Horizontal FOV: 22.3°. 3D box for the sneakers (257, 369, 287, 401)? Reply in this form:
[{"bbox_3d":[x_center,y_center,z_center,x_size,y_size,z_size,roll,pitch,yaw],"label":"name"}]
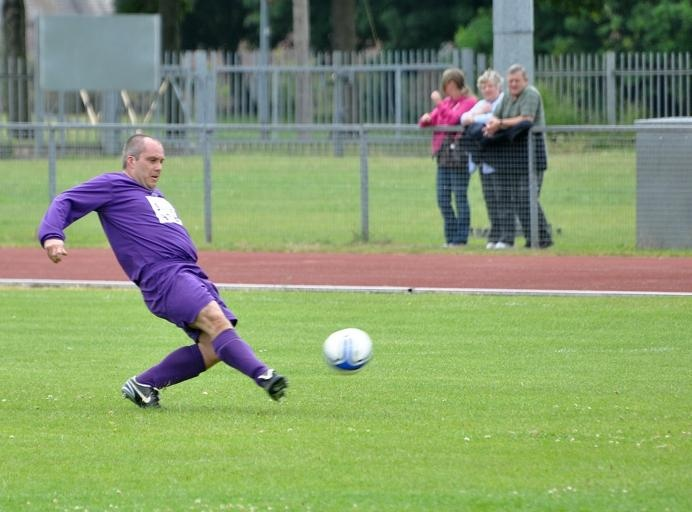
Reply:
[{"bbox_3d":[-0.810,1.406,19.604,0.191,0.442,0.212,-46,32,-9],"label":"sneakers"}]

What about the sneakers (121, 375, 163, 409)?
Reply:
[{"bbox_3d":[-2.313,1.566,19.966,0.585,0.204,0.262,31,-27,-10],"label":"sneakers"}]
